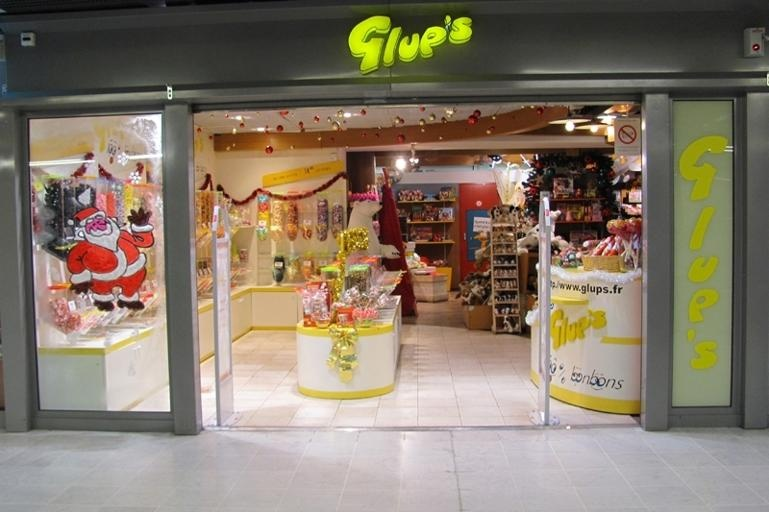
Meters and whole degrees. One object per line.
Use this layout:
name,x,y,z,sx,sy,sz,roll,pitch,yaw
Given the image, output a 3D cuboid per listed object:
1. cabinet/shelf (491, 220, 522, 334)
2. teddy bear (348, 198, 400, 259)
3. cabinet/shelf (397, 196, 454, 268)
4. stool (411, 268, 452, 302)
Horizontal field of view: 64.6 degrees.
cabinet/shelf,2.002,0.347,10.091,0.490,1.737,0.652,1,13,9
teddy bear,-0.160,-0.400,8.840,0.657,0.816,1.098,-4,14,-14
cabinet/shelf,0.982,-0.649,14.726,1.923,2.064,0.636,-1,-2,-5
stool,1.023,0.638,13.705,0.773,0.524,0.780,0,1,31
